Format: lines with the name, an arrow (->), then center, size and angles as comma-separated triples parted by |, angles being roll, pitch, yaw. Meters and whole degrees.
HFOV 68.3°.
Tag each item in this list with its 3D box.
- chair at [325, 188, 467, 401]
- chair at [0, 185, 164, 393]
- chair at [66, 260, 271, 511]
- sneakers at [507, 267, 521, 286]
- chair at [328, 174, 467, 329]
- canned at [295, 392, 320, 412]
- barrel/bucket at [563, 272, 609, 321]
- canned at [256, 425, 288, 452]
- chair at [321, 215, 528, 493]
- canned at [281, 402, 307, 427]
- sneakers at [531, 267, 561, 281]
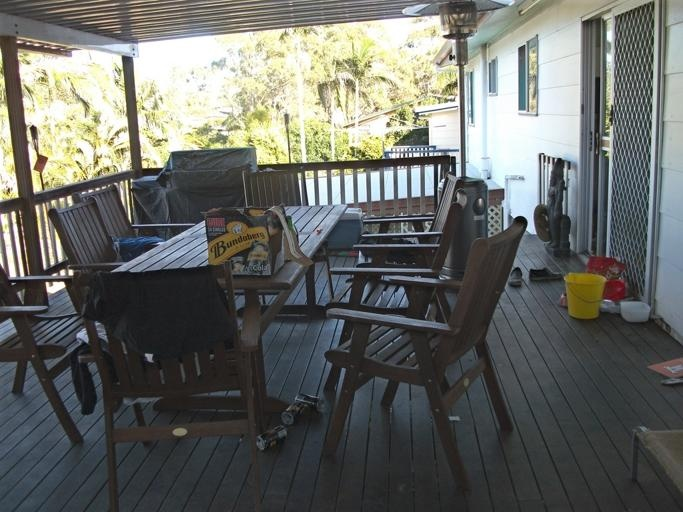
chair -> 0.307, 0.445, 3.068 | 0.832, 1.351, 0.978 | 4, 18, 1
chair -> -2.168, 0.121, 4.574 | 1.194, 1.865, 1.350 | 0, 15, 6
chair -> -0.654, 0.549, 2.716 | 0.836, 1.518, 1.006 | -2, 12, -3
sneakers -> 1.654, 0.199, 4.776 | 0.078, 0.105, 0.234 | -3, 7, 15
chair -> 0.330, 0.026, 3.692 | 1.001, 1.508, 0.987 | 4, 15, 10
canned -> -0.195, 0.845, 2.952 | 0.096, 0.066, 0.088 | 18, -3, -16
barrel/bucket -> 1.944, 0.276, 4.067 | 0.335, 0.344, 0.358 | -5, 5, 0
canned -> -0.365, 0.944, 2.638 | 0.064, 0.088, 0.177 | -2, 5, 43
chair -> 0.382, 0.402, 2.538 | 0.983, 1.169, 0.736 | 5, 20, 21
canned -> -0.277, 0.877, 2.812 | 0.070, 0.069, 0.136 | 2, 28, 21
sneakers -> 1.972, 0.185, 4.873 | 0.223, 0.107, 0.137 | 4, 4, 10
